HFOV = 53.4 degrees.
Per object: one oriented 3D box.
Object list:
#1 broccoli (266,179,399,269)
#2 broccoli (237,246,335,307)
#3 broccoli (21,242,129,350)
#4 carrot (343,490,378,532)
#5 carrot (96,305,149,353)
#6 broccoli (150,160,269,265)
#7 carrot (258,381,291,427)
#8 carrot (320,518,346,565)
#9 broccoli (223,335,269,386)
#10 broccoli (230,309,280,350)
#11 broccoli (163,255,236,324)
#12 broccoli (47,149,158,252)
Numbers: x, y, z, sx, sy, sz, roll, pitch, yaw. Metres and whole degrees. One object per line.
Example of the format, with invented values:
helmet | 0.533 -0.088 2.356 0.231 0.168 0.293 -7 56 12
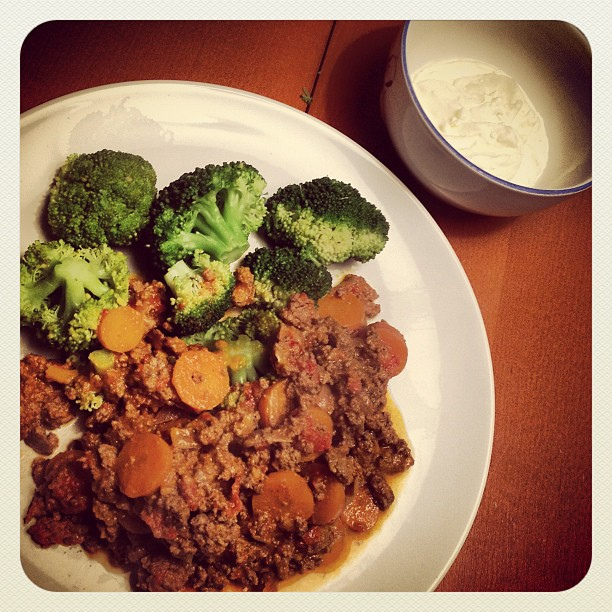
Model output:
broccoli | 0.097 -0.375 2.605 0.515 0.171 0.345 29 77 1
broccoli | -0.085 -0.137 2.567 0.368 0.130 0.264 -13 79 -8
broccoli | -0.930 -0.066 2.383 0.384 0.166 0.442 10 87 -9
carrot | 0.234 0.879 2.601 0.175 0.046 0.174 1 97 -26
carrot | -0.723 0.078 2.391 0.173 0.098 0.194 24 77 0
broccoli | -0.353 -0.373 2.566 0.426 0.431 0.298 -46 72 11
carrot | -0.122 0.388 2.408 0.117 0.027 0.158 -14 80 -9
carrot | 0.111 1.028 2.573 0.031 0.160 0.156 43 37 -27
broccoli | -0.249 0.217 2.549 0.184 0.055 0.197 -37 101 -22
broccoli | -0.217 0.093 2.573 0.175 0.099 0.177 -15 78 -7
broccoli | -0.407 -0.082 2.440 0.271 0.132 0.267 -17 80 -9
broccoli | -0.821 -0.422 2.470 0.413 0.247 0.407 -3 78 -6
